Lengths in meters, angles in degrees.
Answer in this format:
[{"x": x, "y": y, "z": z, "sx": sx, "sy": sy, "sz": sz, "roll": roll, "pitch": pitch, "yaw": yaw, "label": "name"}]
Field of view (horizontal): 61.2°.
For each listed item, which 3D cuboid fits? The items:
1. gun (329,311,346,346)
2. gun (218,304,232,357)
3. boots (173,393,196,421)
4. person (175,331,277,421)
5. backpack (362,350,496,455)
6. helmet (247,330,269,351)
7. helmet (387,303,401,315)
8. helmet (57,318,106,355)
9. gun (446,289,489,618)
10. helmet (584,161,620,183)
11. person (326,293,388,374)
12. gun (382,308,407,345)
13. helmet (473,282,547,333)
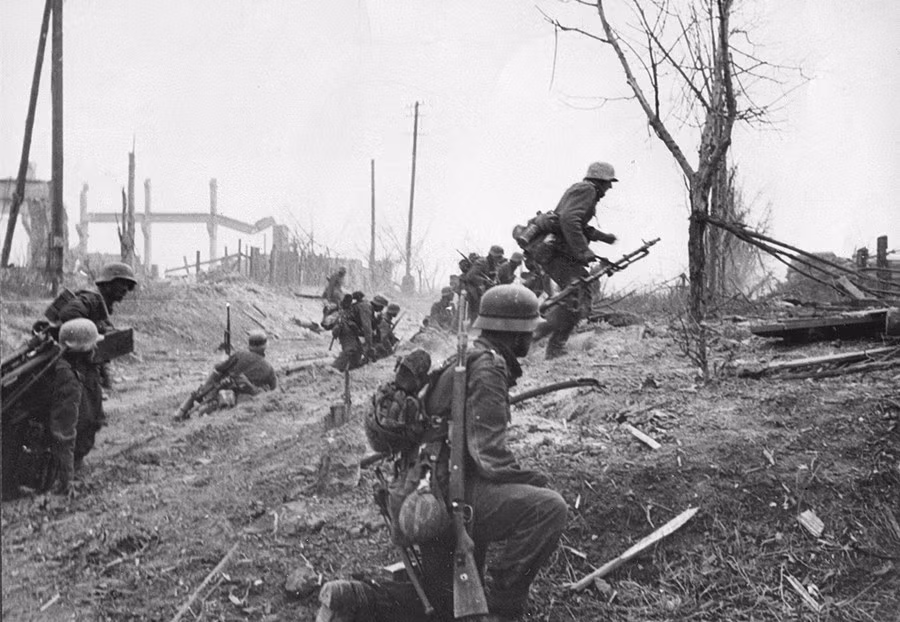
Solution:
[{"x": -2.135, "y": 0.285, "z": 14.466, "sx": 0.191, "sy": 0.805, "sz": 0.239, "roll": 5, "pitch": 2, "yaw": 7, "label": "gun"}, {"x": -5.000, "y": 0.443, "z": 16.851, "sx": 0.223, "sy": 1.201, "sz": 0.384, "roll": 1, "pitch": 15, "yaw": -16, "label": "gun"}, {"x": -3.981, "y": 1.440, "z": 11.403, "sx": 0.105, "sy": 0.139, "sz": 0.469, "roll": -24, "pitch": 28, "yaw": 26, "label": "boots"}, {"x": -3.319, "y": 1.147, "z": 11.666, "sx": 0.862, "sy": 0.823, "sz": 1.821, "roll": 23, "pitch": 34, "yaw": 27, "label": "person"}, {"x": -0.175, "y": 0.820, "z": 6.284, "sx": 1.026, "sy": 0.500, "sz": 0.734, "roll": -48, "pitch": 24, "yaw": -13, "label": "backpack"}, {"x": -3.435, "y": 0.511, "z": 13.533, "sx": 0.376, "sy": 0.395, "sz": 0.381, "roll": -2, "pitch": 8, "yaw": -37, "label": "helmet"}, {"x": -1.140, "y": -0.040, "z": 15.456, "sx": 0.248, "sy": 0.243, "sz": 0.223, "roll": -3, "pitch": 11, "yaw": -31, "label": "helmet"}, {"x": -4.271, "y": 0.293, "z": 8.813, "sx": 0.324, "sy": 0.225, "sz": 0.441, "roll": 42, "pitch": 23, "yaw": 9, "label": "helmet"}, {"x": 0.128, "y": 1.104, "z": 5.946, "sx": 0.250, "sy": 2.413, "sz": 0.517, "roll": 0, "pitch": 3, "yaw": -10, "label": "gun"}, {"x": 1.866, "y": -1.733, "z": 9.427, "sx": 0.341, "sy": 0.295, "sz": 0.569, "roll": 1, "pitch": 3, "yaw": 10, "label": "helmet"}, {"x": -1.636, "y": 0.489, "z": 14.141, "sx": 1.201, "sy": 1.634, "sz": 1.002, "roll": 18, "pitch": -11, "yaw": -42, "label": "person"}, {"x": -1.231, "y": 0.332, "z": 16.646, "sx": 0.284, "sy": 0.980, "sz": 0.375, "roll": -5, "pitch": 29, "yaw": -38, "label": "gun"}, {"x": 0.521, "y": -0.004, "z": 6.500, "sx": 0.586, "sy": 0.420, "sz": 0.575, "roll": 2, "pitch": -3, "yaw": -11, "label": "helmet"}]
